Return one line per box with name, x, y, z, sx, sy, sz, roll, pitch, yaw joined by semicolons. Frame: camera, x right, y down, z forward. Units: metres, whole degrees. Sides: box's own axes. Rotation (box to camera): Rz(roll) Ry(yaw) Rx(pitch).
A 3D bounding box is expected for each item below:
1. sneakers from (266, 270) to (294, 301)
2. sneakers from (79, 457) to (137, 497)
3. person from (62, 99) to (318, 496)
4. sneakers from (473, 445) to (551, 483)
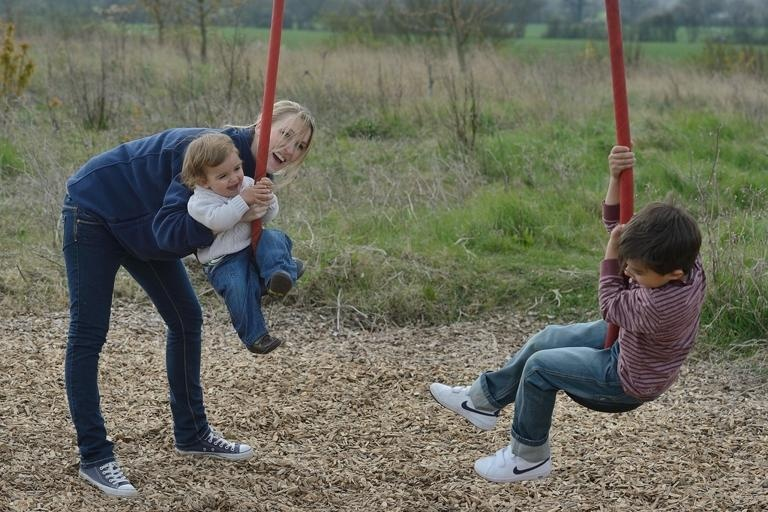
sneakers;-0.822;0.243;7.878;0.121;0.270;0.114;16;34;-15
sneakers;-2.167;1.696;7.900;0.500;0.249;0.169;12;-5;23
person;-1.876;0.432;7.844;1.162;2.764;0.522;-4;13;-14
sneakers;0.975;1.639;8.001;0.629;0.309;0.249;1;15;0
